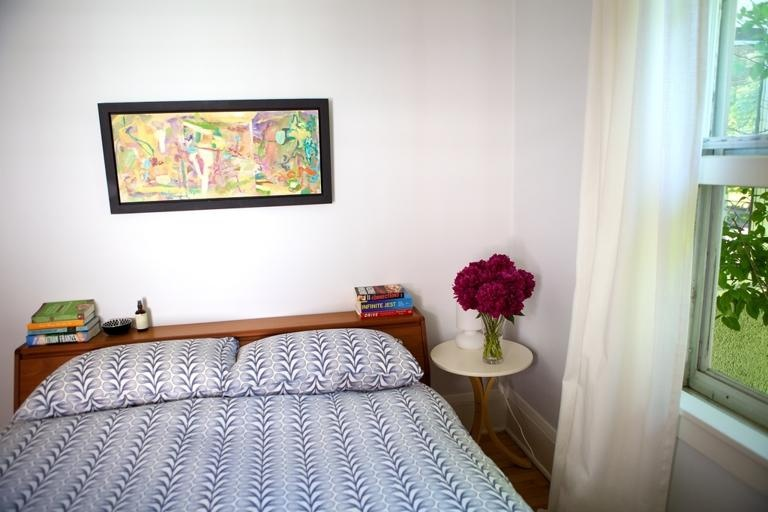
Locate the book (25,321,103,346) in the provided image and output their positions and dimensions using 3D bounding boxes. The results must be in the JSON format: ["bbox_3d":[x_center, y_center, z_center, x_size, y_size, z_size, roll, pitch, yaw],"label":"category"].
[{"bbox_3d":[-1.940,0.486,3.050,0.217,0.051,0.214,-3,5,-14],"label":"book"}]

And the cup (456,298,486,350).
[{"bbox_3d":[0.550,0.461,3.230,0.244,0.345,0.243,-1,1,0],"label":"cup"}]

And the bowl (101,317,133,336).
[{"bbox_3d":[-1.675,0.442,3.141,0.133,0.052,0.125,1,7,0],"label":"bowl"}]

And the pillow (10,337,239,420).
[{"bbox_3d":[-1.411,0.672,2.744,0.733,0.172,0.460,-2,19,-3],"label":"pillow"}]

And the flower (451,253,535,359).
[{"bbox_3d":[0.704,0.347,3.181,0.491,0.643,0.564,1,11,33],"label":"flower"}]

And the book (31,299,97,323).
[{"bbox_3d":[-1.954,0.340,3.063,0.194,0.040,0.186,-3,18,-7],"label":"book"}]
